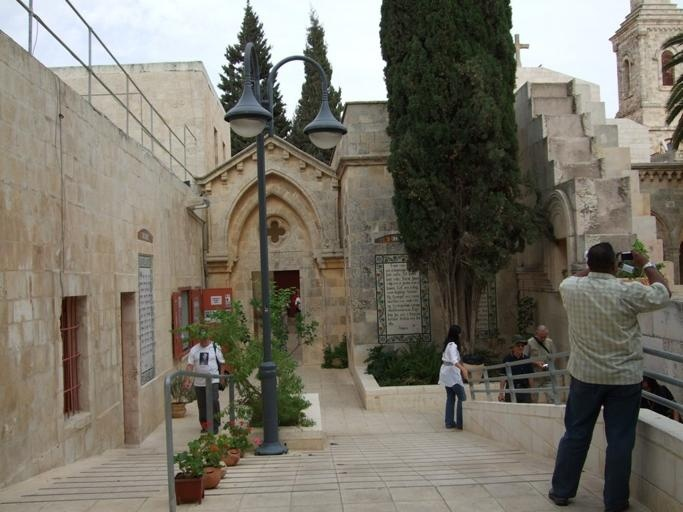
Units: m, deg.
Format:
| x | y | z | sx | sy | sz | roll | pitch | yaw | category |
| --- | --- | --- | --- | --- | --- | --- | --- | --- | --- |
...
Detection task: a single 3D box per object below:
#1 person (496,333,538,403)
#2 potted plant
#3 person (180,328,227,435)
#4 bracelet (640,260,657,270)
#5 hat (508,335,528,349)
| x | y | z | sx | sy | sz | roll | pitch | yaw | category |
| --- | --- | --- | --- | --- | --- | --- | --- | --- | --- |
| 3.020 | 1.970 | 12.283 | 0.613 | 1.164 | 1.928 | -4 | -5 | 13 | person |
| -1.616 | 2.547 | 8.729 | 0.401 | 0.467 | 1.209 | -2 | -7 | 4 | potted plant |
| -2.324 | 2.147 | 12.243 | 0.544 | 1.859 | 0.574 | 2 | 14 | 9 | person |
| 3.546 | 0.102 | 8.227 | 0.102 | 0.075 | 0.112 | 25 | -48 | -25 | bracelet |
| 3.071 | 1.489 | 12.320 | 0.321 | 0.240 | 0.429 | -2 | -11 | -2 | hat |
